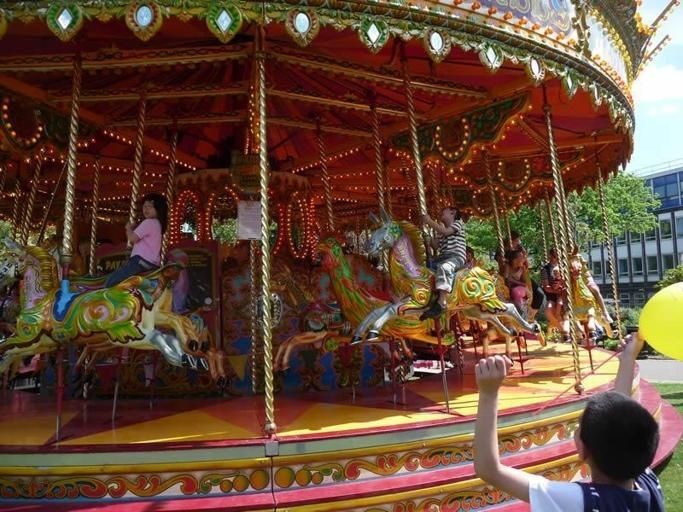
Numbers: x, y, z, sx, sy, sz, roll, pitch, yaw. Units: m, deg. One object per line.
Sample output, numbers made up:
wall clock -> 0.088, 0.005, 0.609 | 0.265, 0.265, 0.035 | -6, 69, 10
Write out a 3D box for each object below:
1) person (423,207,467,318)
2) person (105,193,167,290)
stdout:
person -> 1.274, 0.062, 7.206 | 0.372, 1.365, 0.710 | -10, -11, 38
person -> -2.382, -0.203, 6.887 | 0.603, 1.143, 0.770 | -2, -9, -10
